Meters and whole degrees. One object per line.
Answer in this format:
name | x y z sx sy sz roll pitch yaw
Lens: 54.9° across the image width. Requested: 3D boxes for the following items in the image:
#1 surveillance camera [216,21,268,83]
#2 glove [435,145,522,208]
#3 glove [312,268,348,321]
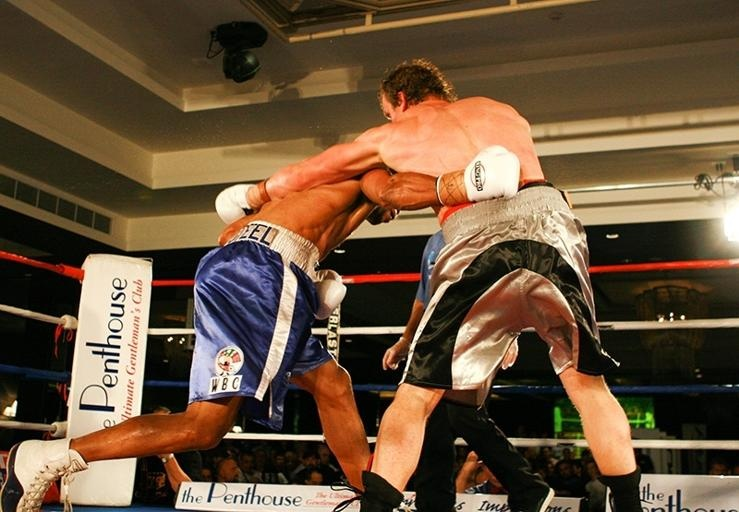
surveillance camera | -0.995 -1.586 5.482 0.363 0.442 0.435 1 0 -35
glove | 0.484 -0.345 2.960 0.257 0.226 0.113 -2 -18 13
glove | -0.200 0.185 3.469 0.124 0.245 0.118 9 3 38
